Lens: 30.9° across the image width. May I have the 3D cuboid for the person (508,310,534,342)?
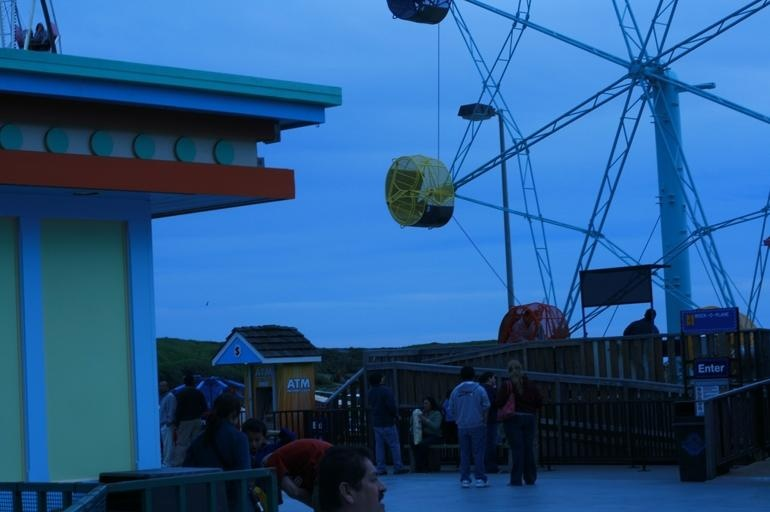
[{"bbox_3d":[3.368,1.769,34.418,0.604,0.774,0.401,9,-8,32],"label":"person"}]

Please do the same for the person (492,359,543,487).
[{"bbox_3d":[2.159,2.748,22.741,0.743,2.034,0.683,3,-13,-31],"label":"person"}]

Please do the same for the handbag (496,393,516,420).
[{"bbox_3d":[1.973,2.459,22.560,0.116,0.324,0.326,25,-42,-16],"label":"handbag"}]

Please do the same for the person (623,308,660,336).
[{"bbox_3d":[5.661,1.534,30.917,0.568,0.780,2.652,-5,-11,7],"label":"person"}]

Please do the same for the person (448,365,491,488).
[{"bbox_3d":[1.431,2.832,22.869,0.760,1.962,0.722,-3,-6,20],"label":"person"}]
